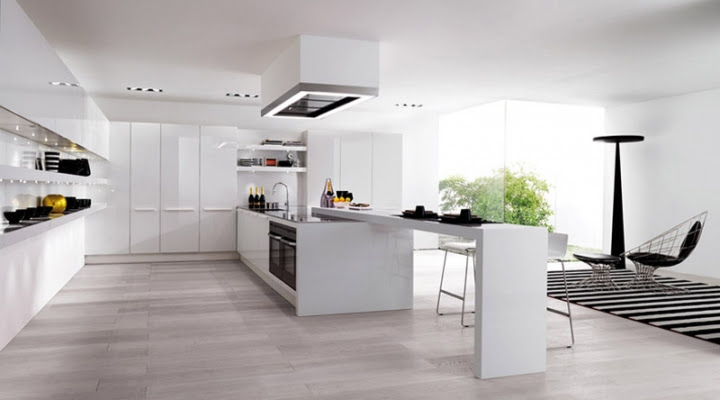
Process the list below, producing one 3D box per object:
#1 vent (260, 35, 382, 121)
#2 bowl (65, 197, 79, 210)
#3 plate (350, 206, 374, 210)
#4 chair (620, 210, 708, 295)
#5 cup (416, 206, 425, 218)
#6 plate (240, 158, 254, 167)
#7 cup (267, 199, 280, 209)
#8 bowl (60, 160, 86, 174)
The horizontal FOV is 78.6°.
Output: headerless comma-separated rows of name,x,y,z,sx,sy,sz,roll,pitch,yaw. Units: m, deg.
vent,-0.902,-2.397,7.841,1.411,0.771,2.542,-6,19,-29
bowl,-4.580,0.055,7.044,0.218,0.142,0.157,0,4,-5
plate,0.020,0.147,7.239,0.377,0.030,0.515,0,8,-4
chair,5.685,1.002,8.750,1.468,1.649,1.772,4,-4,-35
cup,0.793,0.139,5.796,0.120,0.158,0.298,2,8,8
plate,-2.631,-0.864,10.233,0.216,0.117,0.202,0,1,-7
cup,-1.969,0.101,10.105,0.203,0.210,0.265,-2,-5,23
bowl,-4.622,-0.531,7.100,0.432,0.214,0.285,2,3,-33
